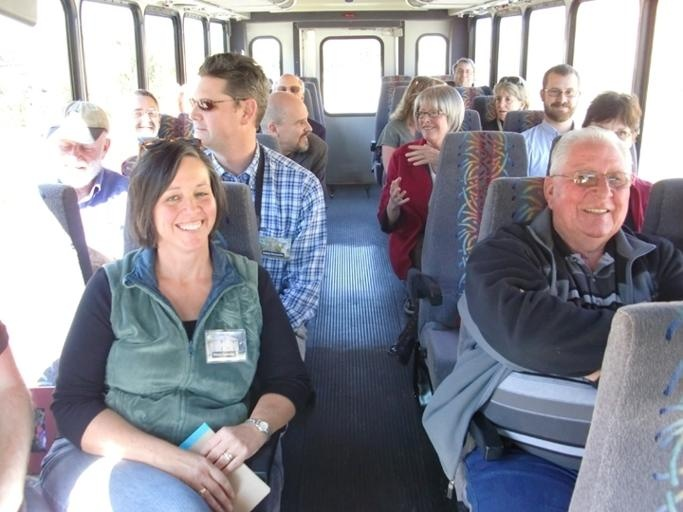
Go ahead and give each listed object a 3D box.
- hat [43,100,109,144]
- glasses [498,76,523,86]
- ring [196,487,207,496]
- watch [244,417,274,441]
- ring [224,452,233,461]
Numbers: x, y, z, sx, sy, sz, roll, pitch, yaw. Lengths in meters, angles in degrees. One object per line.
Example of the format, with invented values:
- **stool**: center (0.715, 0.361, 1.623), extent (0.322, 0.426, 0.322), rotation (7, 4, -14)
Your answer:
- **hat**: center (-1.572, -0.852, 3.258), extent (0.206, 0.135, 0.318), rotation (10, 19, 33)
- **glasses**: center (2.091, -2.140, 6.594), extent (0.162, 0.092, 0.211), rotation (0, 11, -4)
- **ring**: center (-0.449, 0.755, 1.733), extent (0.025, 0.025, 0.008), rotation (5, -15, 1)
- **watch**: center (-0.288, 0.603, 1.924), extent (0.062, 0.093, 0.096), rotation (-30, 8, -4)
- **ring**: center (-0.378, 0.673, 1.816), extent (0.028, 0.026, 0.018), rotation (7, 17, 26)
